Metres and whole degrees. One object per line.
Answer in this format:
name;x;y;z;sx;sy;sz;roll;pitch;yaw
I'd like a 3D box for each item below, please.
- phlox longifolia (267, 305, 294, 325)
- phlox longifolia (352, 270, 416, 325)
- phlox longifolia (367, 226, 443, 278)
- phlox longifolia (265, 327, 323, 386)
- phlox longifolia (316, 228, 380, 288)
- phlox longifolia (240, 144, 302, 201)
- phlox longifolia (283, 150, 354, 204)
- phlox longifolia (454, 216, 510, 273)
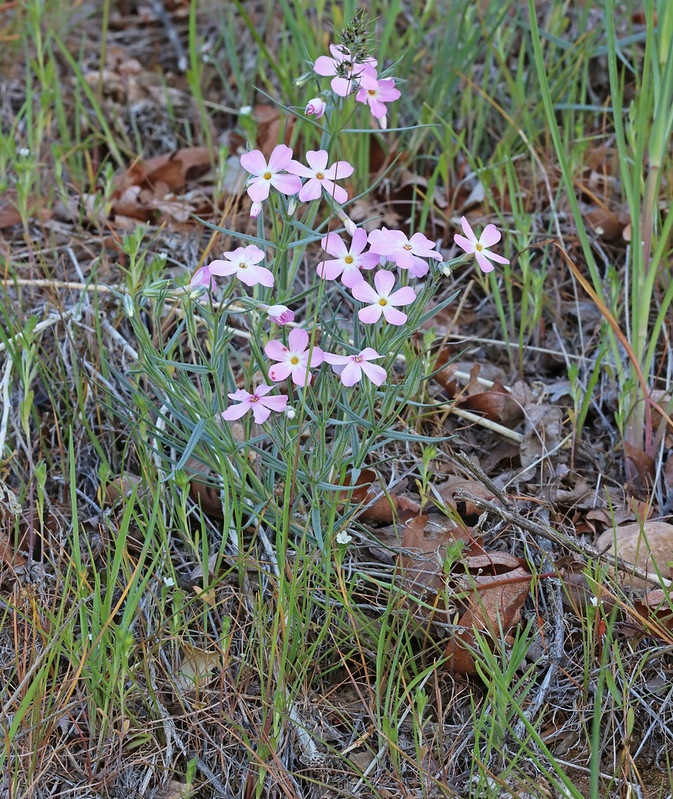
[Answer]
phlox longifolia;-0.101;-0.154;1.399;0.023;0.026;0.048;-56;24;-8
phlox longifolia;0.087;-0.182;1.409;0.147;0.152;0.036;10;92;18
phlox longifolia;0.119;-0.268;1.358;0.103;0.104;0.038;-10;76;29
phlox longifolia;-0.076;-0.073;1.377;0.102;0.103;0.025;6;30;-13
phlox longifolia;0.024;-0.261;1.406;0.115;0.121;0.026;17;57;-11
phlox longifolia;-0.117;-0.403;1.394;0.102;0.090;0.116;-17;47;-13
phlox longifolia;-0.028;-0.397;1.399;0.118;0.123;0.052;-4;65;39
phlox longifolia;0.278;-0.302;1.503;0.107;0.102;0.028;-4;78;-21
